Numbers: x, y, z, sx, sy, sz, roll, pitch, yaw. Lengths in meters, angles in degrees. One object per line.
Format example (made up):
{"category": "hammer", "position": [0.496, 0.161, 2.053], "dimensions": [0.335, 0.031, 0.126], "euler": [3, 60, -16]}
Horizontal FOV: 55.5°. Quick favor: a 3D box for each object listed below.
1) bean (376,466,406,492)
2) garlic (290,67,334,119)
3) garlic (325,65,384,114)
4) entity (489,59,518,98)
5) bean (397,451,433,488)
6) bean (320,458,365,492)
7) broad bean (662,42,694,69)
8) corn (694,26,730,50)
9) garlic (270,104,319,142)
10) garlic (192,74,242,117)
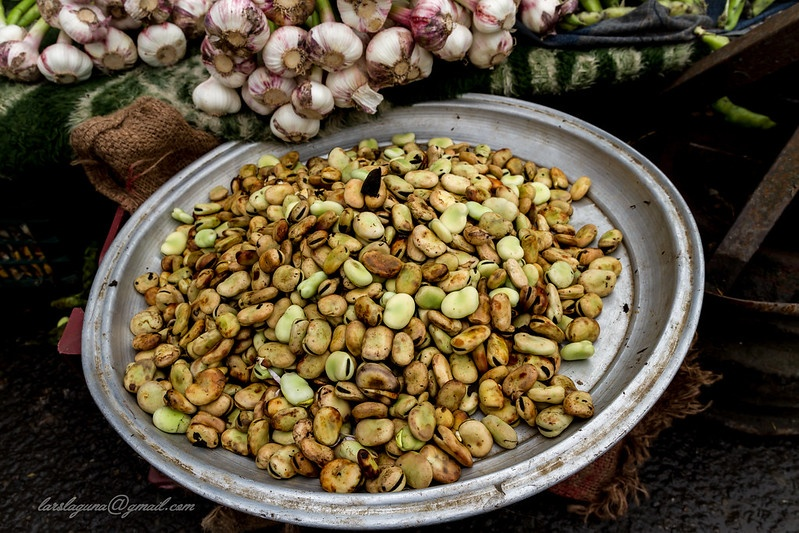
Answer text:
{"category": "bean", "position": [-0.047, 0.978, 3.515], "dimensions": [0.138, 0.056, 0.106], "euler": [-9, 84, 1]}
{"category": "garlic", "position": [-0.475, -0.924, 4.090], "dimensions": [0.255, 0.240, 0.240], "euler": [-4, 106, -8]}
{"category": "garlic", "position": [-0.254, -0.969, 4.145], "dimensions": [0.321, 0.236, 0.224], "euler": [-8, 110, -16]}
{"category": "entity", "position": [0.585, -1.052, 4.283], "dimensions": [0.145, 0.057, 0.187], "euler": [11, 96, -2]}
{"category": "bean", "position": [0.074, 0.937, 3.526], "dimensions": [0.138, 0.050, 0.173], "euler": [-29, 84, -2]}
{"category": "bean", "position": [-0.276, 0.963, 3.519], "dimensions": [0.196, 0.063, 0.145], "euler": [4, 84, 2]}
{"category": "broad bean", "position": [1.572, -1.183, 4.295], "dimensions": [0.181, 0.049, 0.117], "euler": [-7, 84, 1]}
{"category": "corn", "position": [1.747, -1.262, 4.295], "dimensions": [0.202, 0.074, 0.113], "euler": [35, 68, 23]}
{"category": "garlic", "position": [-0.598, -0.785, 4.209], "dimensions": [0.202, 0.212, 0.125], "euler": [2, 96, -3]}
{"category": "garlic", "position": [-1.012, -0.949, 4.230], "dimensions": [0.269, 0.181, 0.201], "euler": [-26, 125, -47]}
